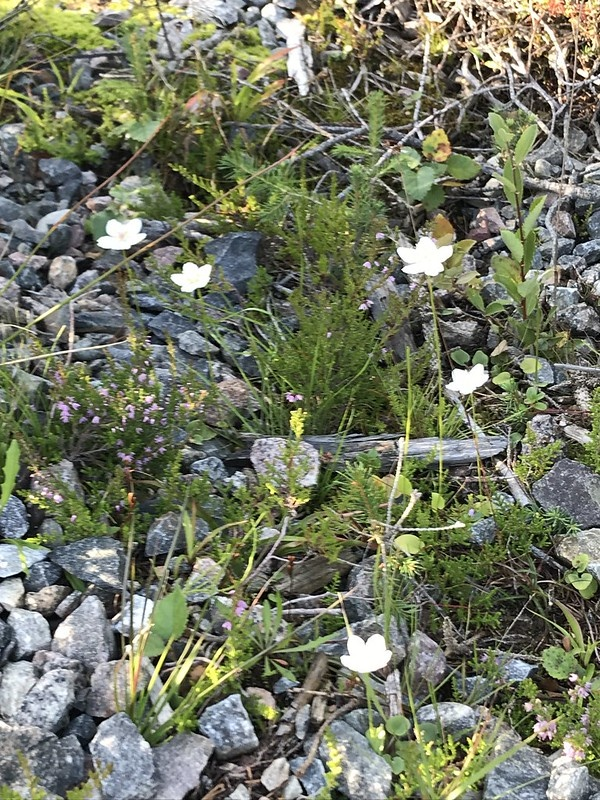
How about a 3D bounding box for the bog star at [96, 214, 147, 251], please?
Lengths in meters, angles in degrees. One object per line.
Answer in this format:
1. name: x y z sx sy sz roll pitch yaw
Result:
1. bog star: -0.546 -0.519 2.220 0.129 0.092 0.194 -8 49 -9
